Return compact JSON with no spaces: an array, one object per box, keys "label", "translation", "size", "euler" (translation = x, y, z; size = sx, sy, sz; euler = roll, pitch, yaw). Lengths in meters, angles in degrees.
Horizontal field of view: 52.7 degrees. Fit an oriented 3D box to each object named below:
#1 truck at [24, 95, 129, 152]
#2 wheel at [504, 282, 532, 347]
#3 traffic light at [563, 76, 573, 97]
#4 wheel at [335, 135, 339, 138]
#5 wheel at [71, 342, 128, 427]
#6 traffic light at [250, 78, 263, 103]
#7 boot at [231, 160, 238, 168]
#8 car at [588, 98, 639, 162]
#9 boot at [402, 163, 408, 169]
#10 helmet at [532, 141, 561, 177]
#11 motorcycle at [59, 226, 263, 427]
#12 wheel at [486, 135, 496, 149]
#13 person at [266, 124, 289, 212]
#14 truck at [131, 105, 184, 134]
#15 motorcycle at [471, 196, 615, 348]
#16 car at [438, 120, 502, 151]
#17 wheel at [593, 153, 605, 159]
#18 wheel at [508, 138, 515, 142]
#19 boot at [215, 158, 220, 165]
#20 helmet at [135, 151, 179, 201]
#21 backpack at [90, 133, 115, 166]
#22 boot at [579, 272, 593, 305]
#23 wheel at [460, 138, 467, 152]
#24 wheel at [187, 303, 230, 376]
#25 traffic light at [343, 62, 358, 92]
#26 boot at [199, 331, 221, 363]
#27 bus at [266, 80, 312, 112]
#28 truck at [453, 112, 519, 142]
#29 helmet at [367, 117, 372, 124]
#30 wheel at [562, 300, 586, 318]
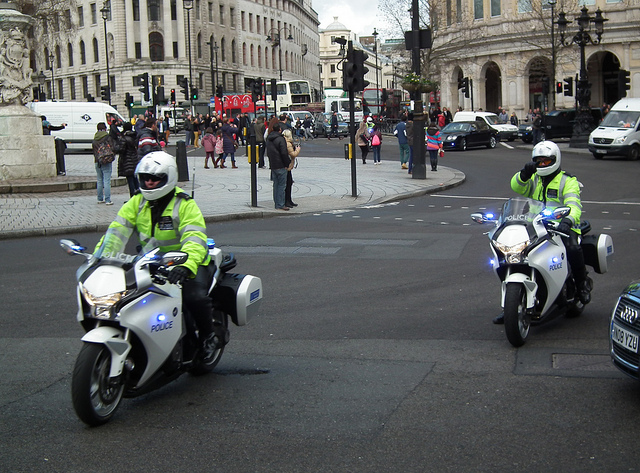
[{"label":"truck","translation":[-14.699,-6.718,40.865],"size":[6.390,3.526,2.519],"euler":[-5,-3,-18]},{"label":"wheel","translation":[1.993,0.775,6.532],"size":[0.181,0.676,0.501],"euler":[4,10,30]},{"label":"traffic light","translation":[16.608,-10.072,43.145],"size":[0.473,1.184,3.804],"euler":[2,10,19]},{"label":"wheel","translation":[1.396,-8.285,53.514],"size":[0.215,0.202,0.417],"euler":[-1,10,-3]},{"label":"wheel","translation":[-1.646,1.103,4.843],"size":[0.178,0.619,0.592],"euler":[6,-1,28]},{"label":"traffic light","translation":[-2.667,-6.192,27.217],"size":[0.409,0.967,1.850],"euler":[-2,9,-7]},{"label":"boot","translation":[-3.893,-3.320,29.729],"size":[0.235,0.286,0.552],"euler":[-2,10,-8]},{"label":"car","translation":[13.407,-4.804,29.442],"size":[1.533,2.158,3.743],"euler":[3,5,41]},{"label":"boot","translation":[3.733,-3.096,28.059],"size":[0.211,0.211,0.747],"euler":[1,10,10]},{"label":"helmet","translation":[2.610,-0.884,7.416],"size":[0.280,0.403,0.342],"euler":[2,9,19]},{"label":"motorcycle","translation":[-1.360,0.676,5.680],"size":[0.949,1.346,2.130],"euler":[-2,0,25]},{"label":"wheel","translation":[10.297,-5.656,38.816],"size":[0.190,0.658,0.623],"euler":[1,-31,42]},{"label":"person","translation":[-1.099,-1.814,16.994],"size":[0.594,2.224,0.518],"euler":[2,8,17]},{"label":"truck","translation":[-16.175,-12.062,65.572],"size":[5.295,2.709,2.259],"euler":[9,18,26]},{"label":"motorcycle","translation":[2.289,0.340,6.813],"size":[1.376,1.467,0.539],"euler":[-9,11,-41]},{"label":"car","translation":[8.650,-5.932,38.091],"size":[3.637,1.665,1.428],"euler":[-6,10,-28]},{"label":"wheel","translation":[13.070,-3.774,30.198],"size":[0.592,0.233,0.292],"euler":[-5,10,-25]},{"label":"wheel","translation":[13.254,-6.661,44.573],"size":[0.411,0.230,0.693],"euler":[2,10,17]},{"label":"boot","translation":[-4.755,-3.489,30.010],"size":[0.109,0.106,0.431],"euler":[27,-13,-17]},{"label":"helmet","translation":[-1.391,-0.551,5.557],"size":[0.302,0.368,0.438],"euler":[5,18,20]},{"label":"backpack","translation":[-5.721,-2.362,17.242],"size":[0.530,0.838,0.478],"euler":[-3,20,11]},{"label":"boot","translation":[3.134,0.585,7.477],"size":[0.154,0.246,0.379],"euler":[-14,24,36]},{"label":"wheel","translation":[8.294,-5.324,37.296],"size":[0.237,0.705,0.653],"euler":[5,11,22]},{"label":"wheel","translation":[-0.921,0.934,5.929],"size":[0.154,0.617,0.579],"euler":[7,-25,-36]},{"label":"traffic light","translation":[0.878,-4.563,18.541],"size":[0.317,0.857,0.912],"euler":[-2,9,-10]},{"label":"boot","translation":[-0.976,0.969,5.721],"size":[0.093,0.208,0.305],"euler":[26,40,-11]},{"label":"bus","translation":[-3.620,-15.996,73.464],"size":[2.561,4.156,8.029],"euler":[-10,19,-18]},{"label":"truck","translation":[11.534,-7.268,43.714],"size":[4.390,2.115,2.360],"euler":[0,20,1]},{"label":"helmet","translation":[2.526,-5.855,32.664],"size":[0.406,0.212,0.444],"euler":[0,7,1]},{"label":"wheel","translation":[2.920,0.818,7.419],"size":[0.221,0.245,0.090],"euler":[5,8,-44]}]
